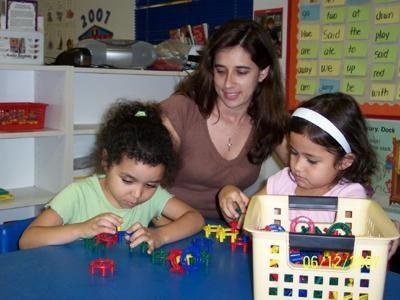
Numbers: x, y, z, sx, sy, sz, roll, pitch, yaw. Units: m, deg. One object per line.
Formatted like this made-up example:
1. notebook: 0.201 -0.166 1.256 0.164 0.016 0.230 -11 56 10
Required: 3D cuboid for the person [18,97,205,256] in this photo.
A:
1. person: -0.384 0.103 1.507 0.551 0.894 0.352 14 -1 -10
